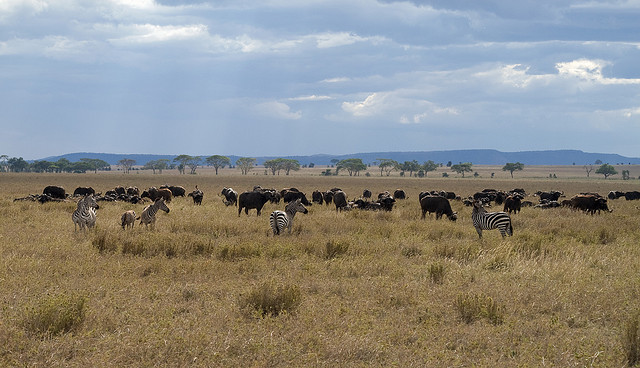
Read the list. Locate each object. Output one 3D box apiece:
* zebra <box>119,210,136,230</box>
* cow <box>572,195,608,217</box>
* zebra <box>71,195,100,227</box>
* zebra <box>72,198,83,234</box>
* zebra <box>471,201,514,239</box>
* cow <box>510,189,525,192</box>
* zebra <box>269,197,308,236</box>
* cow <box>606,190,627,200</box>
[{"bbox_3d":[-12.353,2.335,49.214,0.905,1.116,1.383,-2,4,-21],"label":"zebra"},{"bbox_3d":[21.422,1.663,60.146,2.450,1.255,3.031,0,3,9],"label":"cow"},{"bbox_3d":[-14.971,1.815,49.232,1.348,2.053,1.860,-1,4,-9],"label":"zebra"},{"bbox_3d":[-15.329,2.024,48.511,0.641,2.128,1.222,-2,4,-18],"label":"zebra"},{"bbox_3d":[10.921,2.476,49.155,3.368,2.360,0.920,3,7,27],"label":"zebra"},{"bbox_3d":[20.716,0.733,78.564,0.964,0.315,0.707,1,1,-24],"label":"cow"},{"bbox_3d":[-2.099,2.213,49.073,1.190,2.242,2.107,3,5,42],"label":"zebra"},{"bbox_3d":[30.548,1.198,78.393,1.978,0.668,1.235,-3,4,-37],"label":"cow"}]
